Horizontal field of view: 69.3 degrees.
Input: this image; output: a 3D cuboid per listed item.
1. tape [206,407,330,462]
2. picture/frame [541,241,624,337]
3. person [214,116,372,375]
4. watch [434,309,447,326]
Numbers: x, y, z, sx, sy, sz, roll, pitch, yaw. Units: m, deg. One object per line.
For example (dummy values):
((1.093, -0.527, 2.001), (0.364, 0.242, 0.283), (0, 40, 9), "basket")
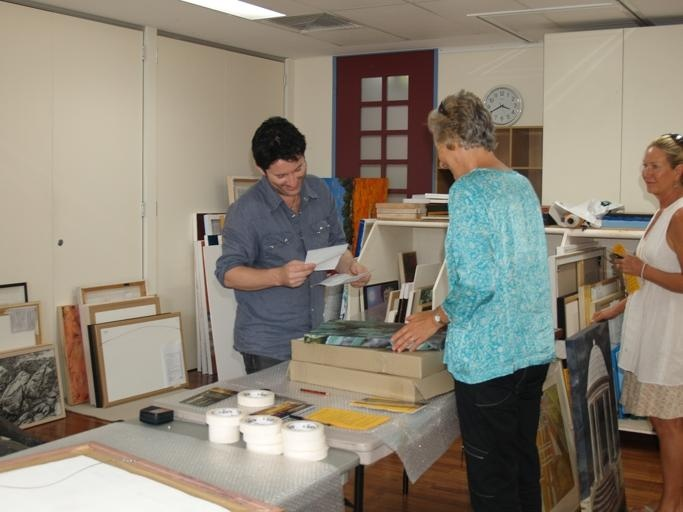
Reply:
((-0.227, 0.498, 1.396), (0.331, 0.081, 0.108), (7, 4, 8), "tape")
((1.400, 0.190, 2.872), (0.240, 0.585, 0.633), (2, 7, 40), "picture/frame")
((-0.270, -0.015, 2.399), (0.667, 1.366, 0.601), (0, 13, -38), "person")
((0.345, 0.217, 1.736), (0.034, 0.060, 0.044), (0, 24, -40), "watch")
